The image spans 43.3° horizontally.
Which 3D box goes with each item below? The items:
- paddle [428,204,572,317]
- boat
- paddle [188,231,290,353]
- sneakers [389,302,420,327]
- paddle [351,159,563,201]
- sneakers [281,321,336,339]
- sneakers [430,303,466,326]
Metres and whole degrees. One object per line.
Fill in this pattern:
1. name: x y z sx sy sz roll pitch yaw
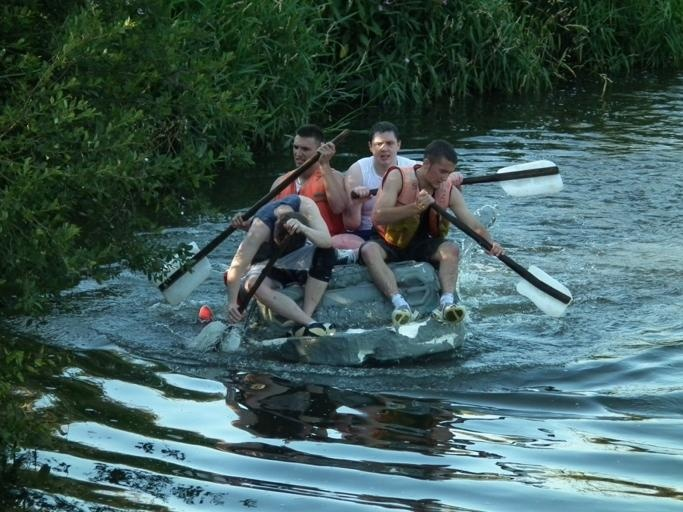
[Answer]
1. paddle: 1.191 -0.015 6.748 1.469 0.062 0.324 32 1 -5
2. boat: -0.150 0.405 6.539 1.084 0.376 1.299 -10 24 -23
3. paddle: -0.792 0.301 6.350 0.342 0.644 0.876 18 41 41
4. sneakers: 0.452 0.436 6.357 0.221 0.112 0.099 3 32 -47
5. paddle: 0.975 -0.593 7.287 2.162 0.140 0.470 -3 56 -6
6. sneakers: -0.240 0.541 6.316 0.394 0.118 0.120 1 0 6
7. sneakers: 0.786 0.423 6.290 0.327 0.123 0.106 4 41 32
